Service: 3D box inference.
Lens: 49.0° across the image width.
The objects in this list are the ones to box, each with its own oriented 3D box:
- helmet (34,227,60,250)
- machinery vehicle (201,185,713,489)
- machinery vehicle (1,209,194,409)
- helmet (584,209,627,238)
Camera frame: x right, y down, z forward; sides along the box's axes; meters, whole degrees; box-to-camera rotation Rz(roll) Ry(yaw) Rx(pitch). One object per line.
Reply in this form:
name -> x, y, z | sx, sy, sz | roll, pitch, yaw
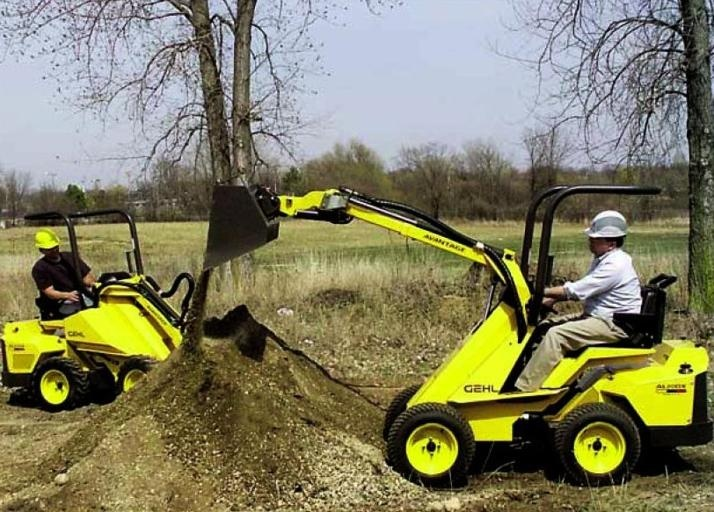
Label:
helmet -> -4.766, -0.237, 11.950 | 0.350, 0.226, 0.291 | 2, 24, 41
machinery vehicle -> 1.033, 1.106, 11.578 | 6.661, 4.863, 3.071 | 1, -3, 5
machinery vehicle -> -3.950, 0.787, 11.691 | 2.712, 2.902, 1.043 | 0, 4, 20
helmet -> 3.083, -0.390, 9.589 | 0.366, 0.248, 0.325 | 2, 5, 6
